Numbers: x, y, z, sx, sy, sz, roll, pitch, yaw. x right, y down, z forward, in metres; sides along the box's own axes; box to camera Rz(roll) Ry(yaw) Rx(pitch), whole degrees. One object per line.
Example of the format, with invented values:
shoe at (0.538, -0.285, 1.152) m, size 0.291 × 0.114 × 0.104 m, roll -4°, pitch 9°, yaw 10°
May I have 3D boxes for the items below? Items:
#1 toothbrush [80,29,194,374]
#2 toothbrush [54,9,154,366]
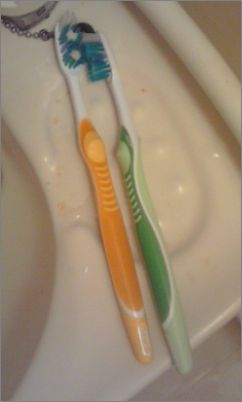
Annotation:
toothbrush at (-0.024, -0.119, 0.470) m, size 0.062 × 0.037 × 0.633 m, roll -11°, pitch 73°, yaw -13°
toothbrush at (-0.023, -0.009, 0.403) m, size 0.039 × 0.055 × 0.406 m, roll -9°, pitch 77°, yaw -16°
